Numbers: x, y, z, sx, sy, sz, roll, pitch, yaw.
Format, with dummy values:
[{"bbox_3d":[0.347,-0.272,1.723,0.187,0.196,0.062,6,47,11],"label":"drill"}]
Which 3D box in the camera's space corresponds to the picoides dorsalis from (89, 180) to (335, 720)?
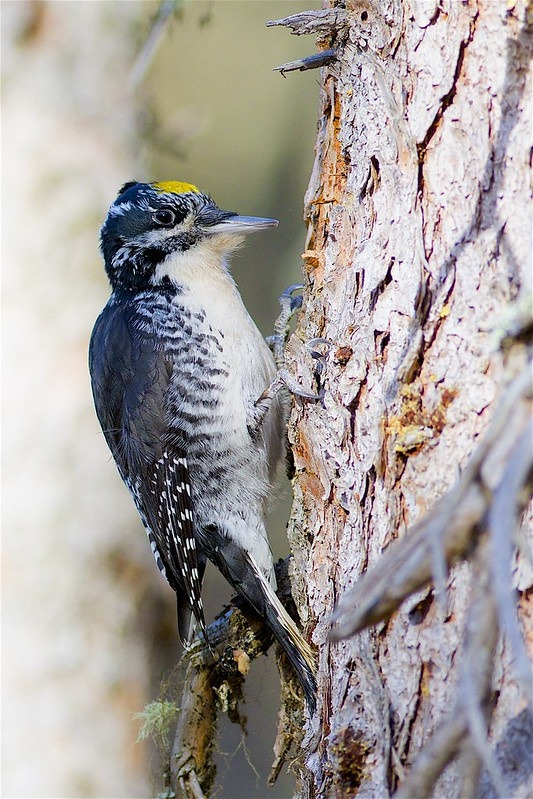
[{"bbox_3d":[-0.179,0.043,3.973,0.714,1.146,0.535,-24,-12,3],"label":"picoides dorsalis"}]
